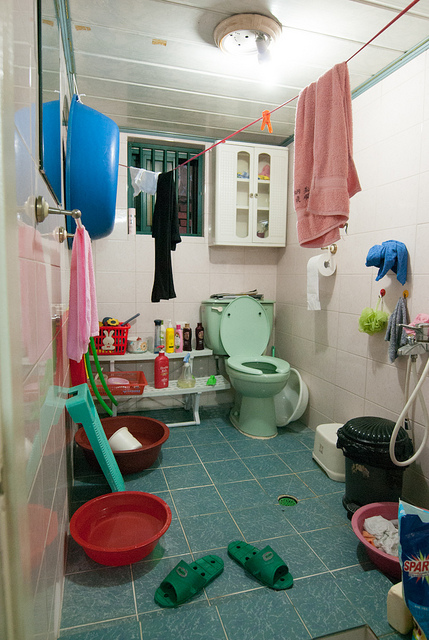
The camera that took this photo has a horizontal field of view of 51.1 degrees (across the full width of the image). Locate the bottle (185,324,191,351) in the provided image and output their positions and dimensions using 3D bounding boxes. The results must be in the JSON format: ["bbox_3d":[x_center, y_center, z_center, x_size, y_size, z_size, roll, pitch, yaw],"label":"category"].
[{"bbox_3d":[-0.187,0.121,3.107,0.034,0.176,0.060,1,5,6],"label":"bottle"}]

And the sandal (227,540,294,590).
[{"bbox_3d":[0.154,0.818,1.534,0.082,0.088,0.210,-8,7,-33],"label":"sandal"}]

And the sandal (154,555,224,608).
[{"bbox_3d":[-0.077,0.812,1.456,0.082,0.076,0.229,5,6,39],"label":"sandal"}]

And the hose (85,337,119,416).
[{"bbox_3d":[-0.603,0.325,2.522,0.084,0.402,0.216,-17,16,-32],"label":"hose"}]

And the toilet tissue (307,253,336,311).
[{"bbox_3d":[0.616,-0.226,2.650,0.076,0.333,0.199,-3,7,-31],"label":"toilet tissue"}]

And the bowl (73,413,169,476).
[{"bbox_3d":[-0.457,0.655,2.319,0.439,0.199,0.455,5,10,-1],"label":"bowl"}]

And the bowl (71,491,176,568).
[{"bbox_3d":[-0.331,0.734,1.582,0.332,0.143,0.375,-1,7,-20],"label":"bowl"}]

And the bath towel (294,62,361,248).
[{"bbox_3d":[0.384,-0.596,1.674,0.139,0.638,0.337,-3,7,-35],"label":"bath towel"}]

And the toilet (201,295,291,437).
[{"bbox_3d":[0.184,0.279,2.908,0.529,0.845,0.690,0,6,-3],"label":"toilet"}]

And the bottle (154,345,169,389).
[{"bbox_3d":[-0.352,0.304,2.885,0.084,0.255,0.106,-2,6,-24],"label":"bottle"}]

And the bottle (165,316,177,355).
[{"bbox_3d":[-0.295,0.122,3.008,0.079,0.209,0.096,0,6,-5],"label":"bottle"}]
